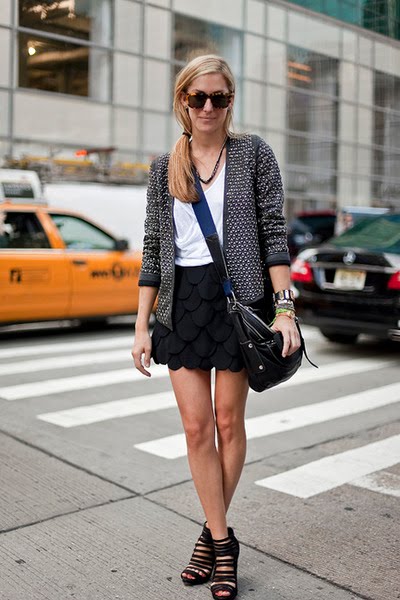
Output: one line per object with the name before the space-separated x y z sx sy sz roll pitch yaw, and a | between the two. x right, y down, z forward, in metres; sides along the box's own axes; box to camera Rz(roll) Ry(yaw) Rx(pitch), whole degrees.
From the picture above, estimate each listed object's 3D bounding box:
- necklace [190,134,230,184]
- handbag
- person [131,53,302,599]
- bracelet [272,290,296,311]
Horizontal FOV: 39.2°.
necklace | 0.023 -0.446 1.803 0.119 0.170 0.136 2 3 -3
handbag | 0.198 0.128 1.690 0.246 0.297 0.140 2 3 -2
person | 0.036 0.083 1.806 0.578 1.726 0.304 3 3 14
bracelet | 0.260 -0.004 1.747 0.072 0.049 0.077 -2 6 11
